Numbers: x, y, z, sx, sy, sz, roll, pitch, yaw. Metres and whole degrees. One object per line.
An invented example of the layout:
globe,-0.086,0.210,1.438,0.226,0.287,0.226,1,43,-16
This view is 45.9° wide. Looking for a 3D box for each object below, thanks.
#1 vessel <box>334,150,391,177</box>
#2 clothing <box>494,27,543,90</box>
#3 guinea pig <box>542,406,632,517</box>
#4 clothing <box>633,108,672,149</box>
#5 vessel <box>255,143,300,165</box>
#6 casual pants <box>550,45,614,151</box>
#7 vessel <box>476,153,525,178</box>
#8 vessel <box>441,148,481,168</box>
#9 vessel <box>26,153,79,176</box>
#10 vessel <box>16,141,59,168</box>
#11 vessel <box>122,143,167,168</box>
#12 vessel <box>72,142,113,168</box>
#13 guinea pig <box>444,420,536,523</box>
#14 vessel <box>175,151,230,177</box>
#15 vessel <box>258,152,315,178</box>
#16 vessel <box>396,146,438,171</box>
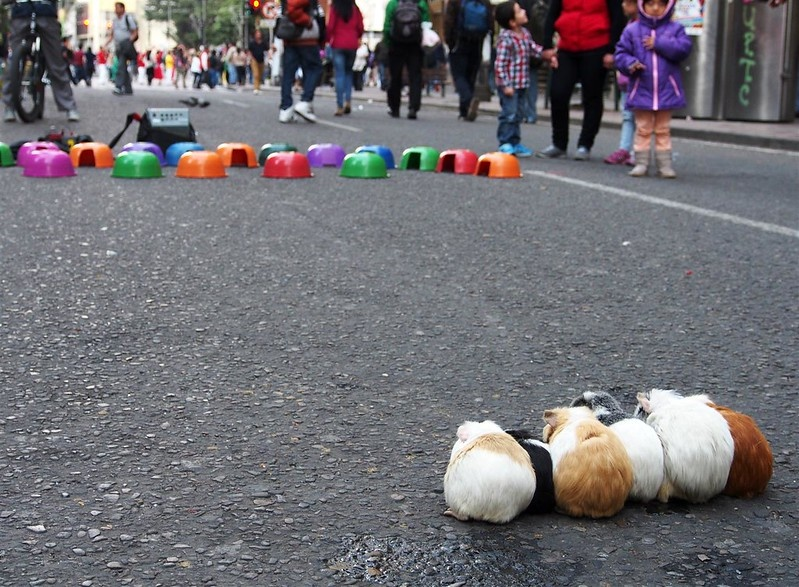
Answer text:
vessel,-0.343,-1.189,8.844,0.290,0.146,0.301,8,18,22
clothing,1.329,-2.633,10.444,0.711,0.690,0.356,-12,15,-29
guinea pig,0.552,0.476,2.784,0.242,0.268,0.381,-6,16,-10
clothing,2.291,-1.508,8.530,0.313,0.628,0.211,2,43,15
vessel,-1.286,-1.475,9.718,0.319,0.158,0.315,-12,20,-38
casual pants,1.875,-2.032,9.947,0.561,1.077,0.720,2,13,9
vessel,0.902,-1.185,8.738,0.482,0.215,0.402,4,14,16
vessel,0.570,-1.301,9.292,0.406,0.200,0.396,2,14,8
vessel,-3.154,-1.150,8.408,0.273,0.126,0.279,11,19,35
vessel,-3.450,-1.365,8.928,0.368,0.184,0.375,0,13,3
vessel,-2.618,-1.458,9.592,0.326,0.161,0.335,6,15,20
vessel,-3.058,-1.368,9.346,0.294,0.150,0.308,17,23,36
guinea pig,0.266,0.517,2.763,0.273,0.273,0.383,-1,-2,-13
vessel,-1.796,-1.164,8.544,0.446,0.213,0.310,-3,14,-13
vessel,-1.034,-1.179,8.661,0.296,0.145,0.304,9,22,17
vessel,0.241,-1.371,9.663,0.302,0.170,0.300,6,8,44
